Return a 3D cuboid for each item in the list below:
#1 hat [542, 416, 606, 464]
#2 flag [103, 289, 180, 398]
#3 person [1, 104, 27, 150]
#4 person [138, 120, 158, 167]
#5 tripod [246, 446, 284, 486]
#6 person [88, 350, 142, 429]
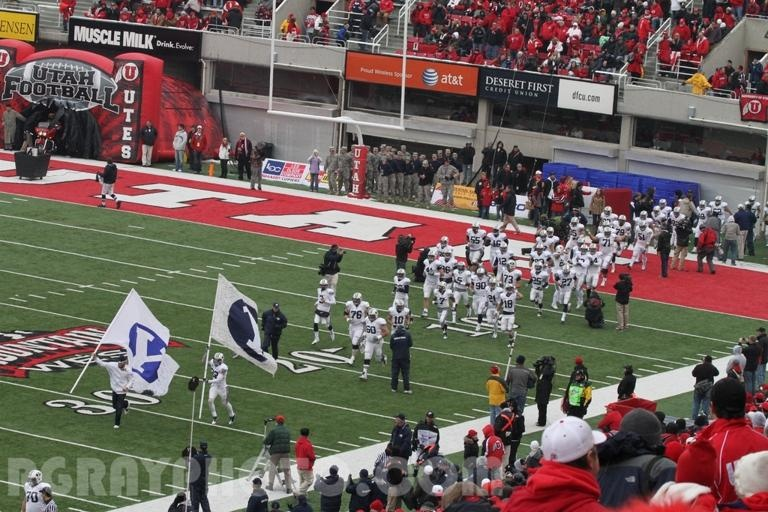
[{"bbox_3d":[3.769,3.657,36.808,0.802,1.032,0.797,1,-4,-25],"label":"hat"},{"bbox_3d":[-6.371,2.287,48.058,2.272,2.780,0.249,2,7,-29],"label":"flag"},{"bbox_3d":[-13.952,-4.861,68.460,0.726,1.674,0.831,2,0,-19],"label":"person"},{"bbox_3d":[-8.779,-4.223,68.060,0.613,1.662,1.108,2,0,-8],"label":"person"},{"bbox_3d":[-2.927,5.325,46.198,0.954,1.241,0.954,6,4,-2],"label":"tripod"},{"bbox_3d":[-7.034,3.484,47.734,1.006,2.014,0.832,5,-5,14],"label":"person"}]
